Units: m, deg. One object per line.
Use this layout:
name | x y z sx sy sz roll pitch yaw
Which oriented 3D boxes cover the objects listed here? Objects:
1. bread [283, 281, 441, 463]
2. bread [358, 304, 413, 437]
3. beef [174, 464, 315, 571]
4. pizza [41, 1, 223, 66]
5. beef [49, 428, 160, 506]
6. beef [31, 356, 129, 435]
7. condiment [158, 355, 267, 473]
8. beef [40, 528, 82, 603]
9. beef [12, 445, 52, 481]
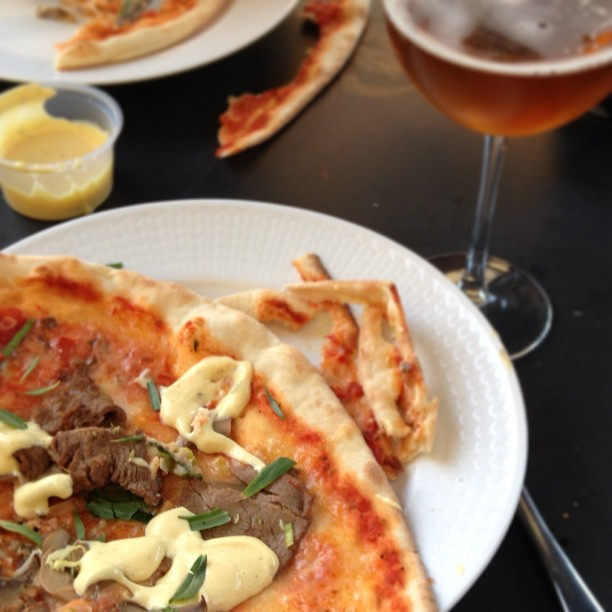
bread | 0.160 0.124 1.584 0.139 0.588 0.263 -15 19 33
bread | 0.163 0.146 1.609 0.098 0.096 0.271 -7 61 -2
beef | -0.107 0.459 1.505 0.227 0.050 0.210 -32 61 -20
pizza | -0.585 -0.951 2.313 0.464 0.077 0.381 -15 43 -19
beef | -0.426 0.330 1.461 0.223 0.054 0.148 17 44 -21
beef | -0.512 0.240 1.545 0.158 0.053 0.192 -33 59 -33
condiment | -0.218 0.245 1.545 0.209 0.096 0.279 -3 48 -11
beef | -0.485 0.514 1.349 0.163 0.047 0.100 1 36 -6
beef | -0.579 0.327 1.452 0.077 0.029 0.064 -7 85 -41
